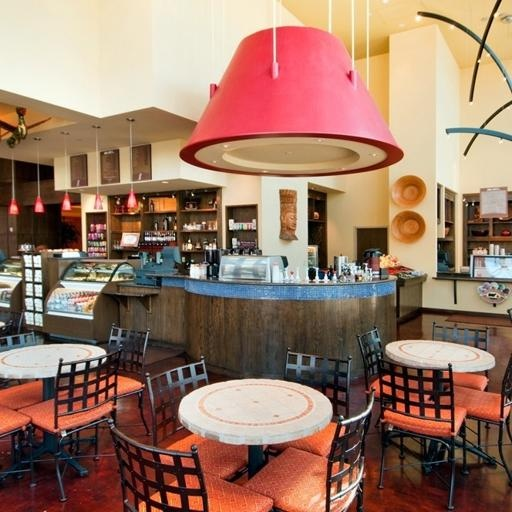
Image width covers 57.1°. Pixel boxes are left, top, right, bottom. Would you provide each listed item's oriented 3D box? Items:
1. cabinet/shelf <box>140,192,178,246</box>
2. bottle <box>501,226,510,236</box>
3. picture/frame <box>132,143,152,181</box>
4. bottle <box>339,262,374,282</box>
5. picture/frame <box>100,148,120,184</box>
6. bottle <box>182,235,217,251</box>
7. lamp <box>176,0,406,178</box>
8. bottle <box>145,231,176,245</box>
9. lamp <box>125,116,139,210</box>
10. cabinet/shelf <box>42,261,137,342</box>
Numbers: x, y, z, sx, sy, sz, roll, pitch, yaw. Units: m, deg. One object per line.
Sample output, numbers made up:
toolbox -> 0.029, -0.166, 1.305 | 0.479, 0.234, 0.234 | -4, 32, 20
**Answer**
cabinet/shelf -> -2.302, -0.677, 10.847 | 0.901, 1.427, 0.464 | -5, 12, -44
bottle -> 6.320, -0.611, 11.869 | 0.230, 0.246, 0.226 | 3, 4, 30
picture/frame -> -2.241, -1.792, 8.955 | 0.069, 0.663, 0.532 | 12, 22, 26
bottle -> 1.266, 0.219, 6.004 | 0.306, 0.166, 0.290 | 1, 2, 0
picture/frame -> -2.906, -1.767, 9.396 | 0.553, 0.683, 0.072 | 2, 6, 31
bottle -> -1.189, -0.261, 10.157 | 0.820, 0.270, 0.235 | -1, 1, 25
lamp -> 0.243, -1.073, 3.965 | 1.836, 1.667, 1.777 | 0, -1, -2
bottle -> -2.176, -0.408, 10.467 | 0.966, 0.299, 0.225 | -1, 1, 35
lamp -> -2.142, -1.582, 8.141 | 0.233, 1.513, 0.211 | 1, 10, -2
cabinet/shelf -> -2.597, 0.748, 7.902 | 1.257, 1.119, 1.308 | 2, 4, 35
